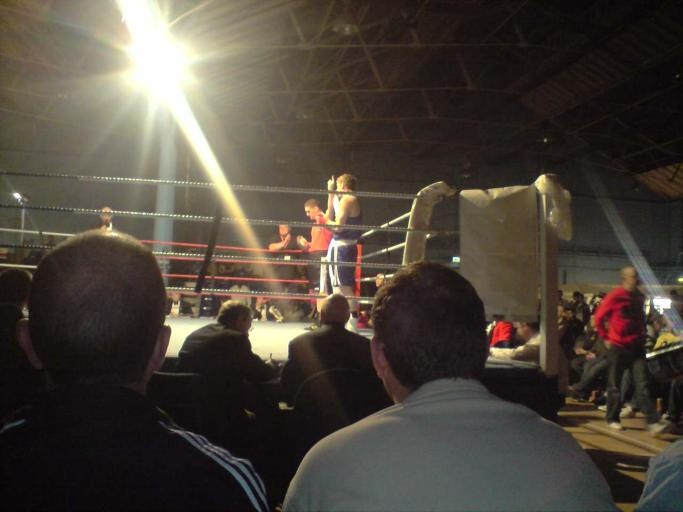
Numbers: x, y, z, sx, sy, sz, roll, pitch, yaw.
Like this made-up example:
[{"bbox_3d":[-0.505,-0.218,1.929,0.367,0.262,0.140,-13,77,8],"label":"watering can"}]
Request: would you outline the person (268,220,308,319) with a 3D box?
[{"bbox_3d":[-1.033,0.323,11.488,0.552,1.775,0.754,-6,23,-13],"label":"person"}]
